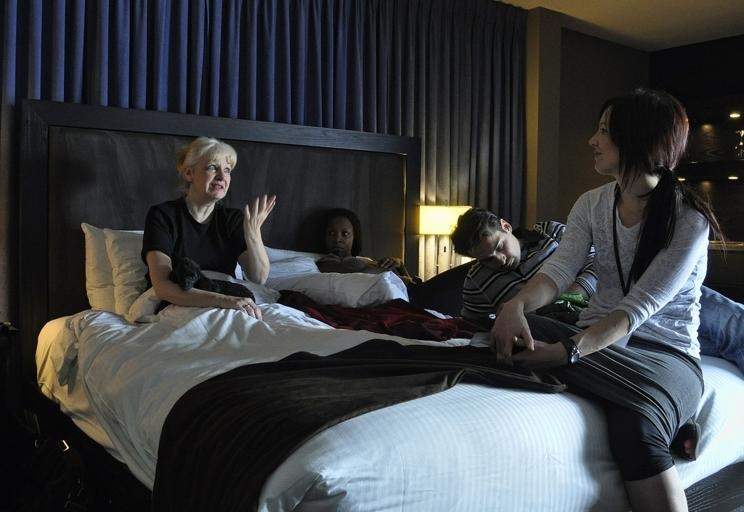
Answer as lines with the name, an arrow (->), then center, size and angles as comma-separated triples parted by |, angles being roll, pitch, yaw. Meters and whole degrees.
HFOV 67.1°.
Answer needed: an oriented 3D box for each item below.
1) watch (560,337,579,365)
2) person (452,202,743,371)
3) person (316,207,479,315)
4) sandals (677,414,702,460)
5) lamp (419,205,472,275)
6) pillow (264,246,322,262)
watch -> 0.688, 0.329, 1.940 | 0.057, 0.085, 0.088 | -6, 5, -30
person -> 0.993, 0.095, 2.687 | 0.753, 0.475, 1.223 | -15, 14, -35
person -> 0.125, 0.062, 3.950 | 1.043, 0.482, 0.616 | 29, 11, 8
sandals -> 1.131, 0.653, 2.025 | 0.094, 0.148, 0.050 | 0, 1, 38
lamp -> 0.593, -0.127, 5.085 | 0.316, 0.592, 0.320 | 0, 3, 18
pillow -> -0.546, 0.001, 3.810 | 0.233, 0.043, 0.151 | 9, 2, -26
